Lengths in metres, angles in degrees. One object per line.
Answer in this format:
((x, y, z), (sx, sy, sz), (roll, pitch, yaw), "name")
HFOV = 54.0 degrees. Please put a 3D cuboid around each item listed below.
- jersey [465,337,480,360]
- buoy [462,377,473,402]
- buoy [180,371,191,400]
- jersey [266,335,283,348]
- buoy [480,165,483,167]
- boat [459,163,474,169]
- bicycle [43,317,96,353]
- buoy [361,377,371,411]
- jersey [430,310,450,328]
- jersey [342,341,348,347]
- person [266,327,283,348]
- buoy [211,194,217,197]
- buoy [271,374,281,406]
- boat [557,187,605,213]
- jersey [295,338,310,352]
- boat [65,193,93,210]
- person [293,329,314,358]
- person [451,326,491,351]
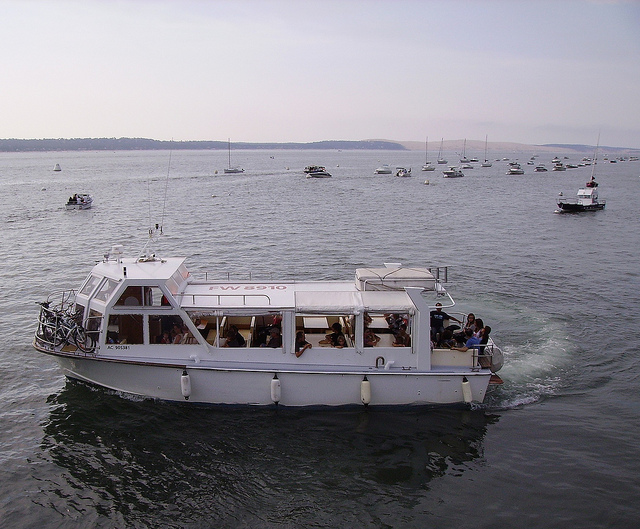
((5.586, 2.988, 22.996), (0.514, 0.627, 0.248), (-2, 4, 10), "jersey")
((5.390, 4.558, 22.968), (0.220, 0.935, 0.385), (0, 4, 36), "buoy")
((-4.852, 4.356, 22.786), (0.322, 0.970, 0.299), (-4, 4, -10), "buoy")
((-1.692, 2.803, 22.768), (0.580, 0.431, 0.156), (6, -7, 18), "jersey")
((59.596, -36.332, 231.314), (1.128, 0.575, 1.572), (2, 16, 15), "buoy")
((47.847, -32.076, 205.400), (6.318, 1.122, 5.208), (2, 12, 6), "boat")
((-9.348, 2.540, 23.404), (2.357, 1.036, 1.070), (-1, -7, 32), "bicycle")
((1.665, 4.551, 22.641), (0.350, 1.009, 0.287), (-3, 4, -1), "buoy")
((4.618, 2.124, 24.225), (1.080, 0.413, 0.211), (0, 15, -1), "jersey")
((0.920, 2.942, 23.118), (0.262, 0.183, 0.051), (-2, -28, -4), "jersey")
((-1.681, 2.695, 23.022), (0.609, 0.646, 0.738), (-3, 3, -4), "person")
((-16.321, -10.632, 96.561), (0.625, 0.251, 0.749), (1, 4, -7), "buoy")
((-1.584, 4.556, 22.706), (0.358, 1.167, 0.409), (-3, 4, -5), "buoy")
((33.391, -8.033, 79.867), (9.380, 3.128, 2.931), (-13, 19, -32), "boat")
((-0.670, 2.920, 22.801), (0.493, 0.448, 0.268), (-2, 4, -2), "jersey")
((-30.351, -7.806, 79.403), (2.383, 1.625, 6.164), (0, 16, -4), "boat")
((-0.648, 2.914, 22.863), (0.700, 0.914, 0.499), (-3, 4, -1), "person")
((5.622, 2.735, 23.067), (1.305, 0.830, 0.374), (-2, 4, -7), "person")
